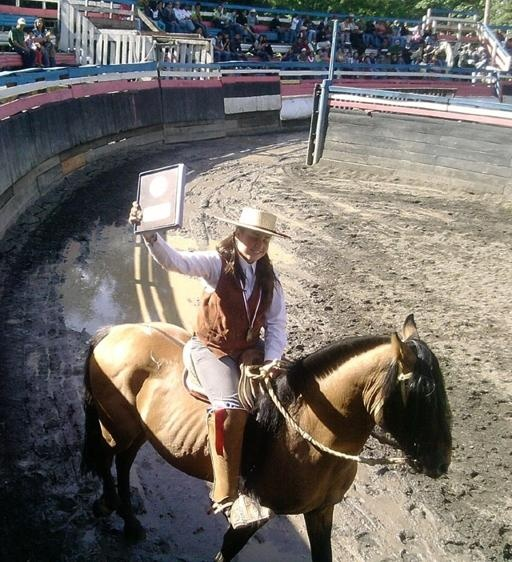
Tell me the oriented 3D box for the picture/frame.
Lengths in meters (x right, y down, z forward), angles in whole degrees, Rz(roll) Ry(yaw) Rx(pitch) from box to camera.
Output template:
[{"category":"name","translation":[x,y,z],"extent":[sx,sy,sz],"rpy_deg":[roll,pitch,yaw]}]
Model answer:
[{"category":"picture/frame","translation":[-0.506,-0.438,2.657],"extent":[0.242,0.374,0.538],"rpy_deg":[2,21,-11]}]

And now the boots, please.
[{"category":"boots","translation":[-0.078,1.015,2.694],"extent":[0.312,0.699,0.332],"rpy_deg":[-2,24,-20]}]

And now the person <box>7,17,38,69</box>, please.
[{"category":"person","translation":[-5.491,-5.653,11.862],"extent":[0.476,1.086,0.725],"rpy_deg":[-7,26,-30]}]
